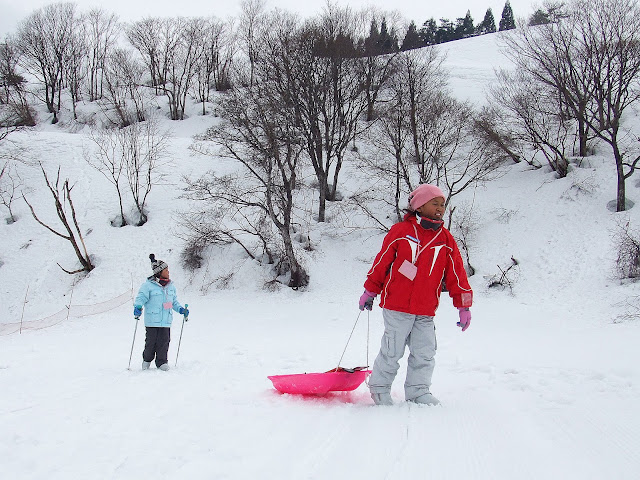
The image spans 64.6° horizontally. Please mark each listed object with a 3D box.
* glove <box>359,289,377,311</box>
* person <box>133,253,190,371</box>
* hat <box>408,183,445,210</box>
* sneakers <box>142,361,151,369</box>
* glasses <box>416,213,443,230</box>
[{"bbox_3d":[0.649,0.806,6.777,0.183,0.271,0.111,26,0,25],"label":"glove"},{"bbox_3d":[-2.930,1.531,9.433,0.914,2.031,1.389,-8,22,-20],"label":"person"},{"bbox_3d":[1.411,-0.572,6.711,0.407,0.365,0.317,8,11,41],"label":"hat"},{"bbox_3d":[-3.116,2.251,9.132,0.115,0.126,0.124,1,-8,2],"label":"sneakers"},{"bbox_3d":[1.421,-0.230,6.588,0.177,0.117,0.225,-7,32,-43],"label":"glasses"}]
